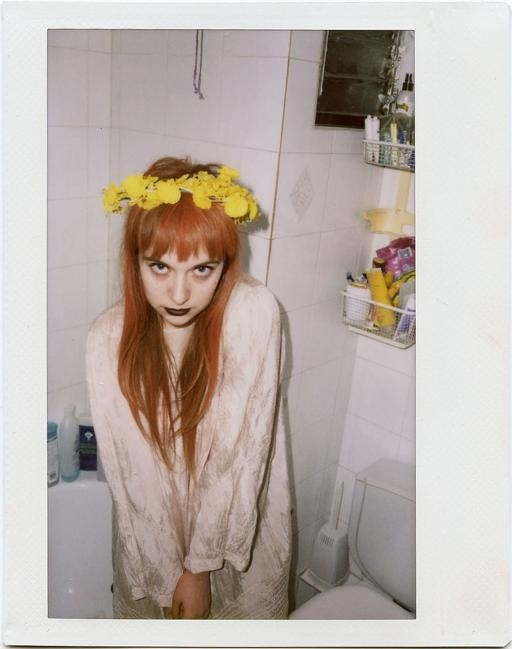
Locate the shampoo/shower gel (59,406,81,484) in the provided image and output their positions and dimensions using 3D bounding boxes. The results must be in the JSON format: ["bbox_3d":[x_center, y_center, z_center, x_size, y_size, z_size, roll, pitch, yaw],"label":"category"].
[{"bbox_3d":[-0.360,0.230,1.034,0.040,0.148,0.082,1,13,-10],"label":"shampoo/shower gel"}]

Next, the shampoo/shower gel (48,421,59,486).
[{"bbox_3d":[-0.402,0.241,1.050,0.022,0.138,0.084,-3,14,-22],"label":"shampoo/shower gel"}]

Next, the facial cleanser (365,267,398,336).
[{"bbox_3d":[0.223,-0.039,0.993,0.043,0.115,0.062,5,27,6],"label":"facial cleanser"}]

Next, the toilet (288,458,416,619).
[{"bbox_3d":[0.223,0.406,1.158,0.185,0.355,0.307,1,2,44],"label":"toilet"}]

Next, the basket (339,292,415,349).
[{"bbox_3d":[0.226,-0.004,0.983,0.097,0.072,0.107,5,11,-9],"label":"basket"}]

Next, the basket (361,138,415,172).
[{"bbox_3d":[0.235,-0.288,0.949,0.068,0.057,0.028,9,-28,-21],"label":"basket"}]
